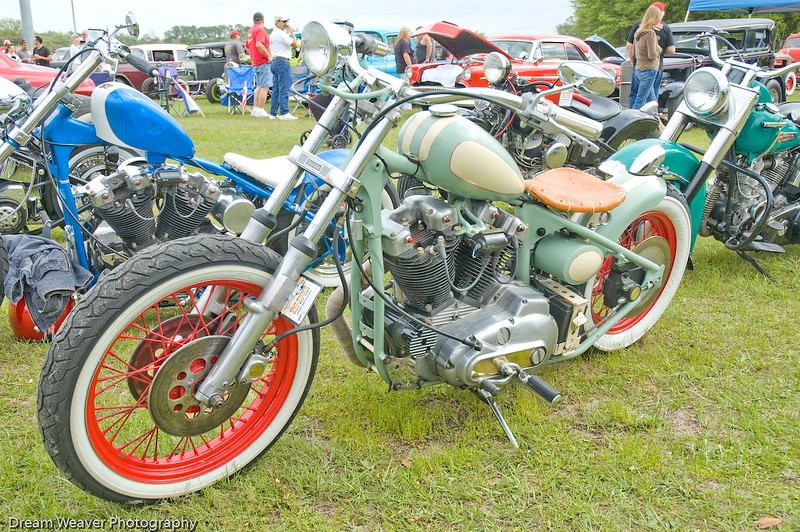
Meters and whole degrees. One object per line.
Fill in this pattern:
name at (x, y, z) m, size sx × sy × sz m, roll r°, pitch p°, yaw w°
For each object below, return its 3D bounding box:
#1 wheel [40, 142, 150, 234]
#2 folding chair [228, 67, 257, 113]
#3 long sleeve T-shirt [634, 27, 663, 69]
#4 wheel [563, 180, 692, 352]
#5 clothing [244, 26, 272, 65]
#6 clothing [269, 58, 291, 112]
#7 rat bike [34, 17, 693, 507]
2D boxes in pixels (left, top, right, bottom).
wheel at (-2.631, -0.705, 5.390) m, size 0.798 × 0.830 × 0.291 m, roll -12°, pitch -9°, yaw -29°
folding chair at (-3.607, -3.985, 14.711) m, size 0.684 × 1.022 × 0.714 m, roll -3°, pitch 4°, yaw -16°
long sleeve T-shirt at (3.643, -3.188, 9.401) m, size 0.310 × 0.484 × 0.422 m, roll -12°, pitch 32°, yaw -13°
wheel at (1.639, 0.014, 4.440) m, size 1.069 × 1.161 × 0.231 m, roll 0°, pitch 18°, yaw -38°
clothing at (-2.827, -4.443, 12.988) m, size 0.440 × 0.793 × 0.705 m, roll -10°, pitch 15°, yaw -36°
clothing at (-2.358, -3.515, 12.703) m, size 0.356 × 1.111 × 0.481 m, roll -4°, pitch 8°, yaw -42°
rat bike at (0.345, -0.074, 3.843) m, size 4.535 × 2.375 × 1.676 m, roll -11°, pitch 25°, yaw -30°
